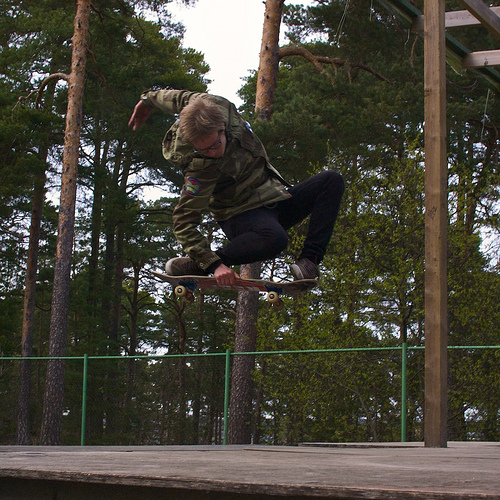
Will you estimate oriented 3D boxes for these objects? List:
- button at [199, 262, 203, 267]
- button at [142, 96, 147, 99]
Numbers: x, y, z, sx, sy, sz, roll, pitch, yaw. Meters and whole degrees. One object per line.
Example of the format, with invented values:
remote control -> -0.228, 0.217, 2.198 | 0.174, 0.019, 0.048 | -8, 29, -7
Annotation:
button -> -0.595, 0.170, 11.752 | 0.053, 0.029, 0.078 | 3, 2, -1
button -> -1.327, -1.909, 12.241 | 0.073, 0.044, 0.018 | -7, -14, 35
